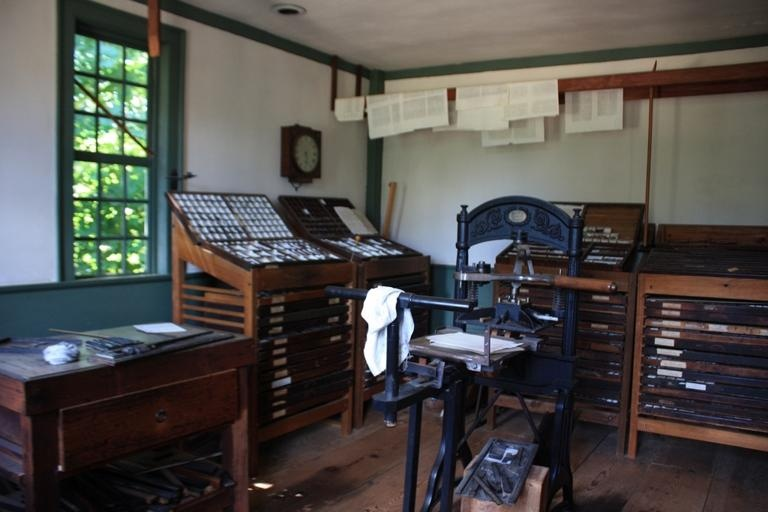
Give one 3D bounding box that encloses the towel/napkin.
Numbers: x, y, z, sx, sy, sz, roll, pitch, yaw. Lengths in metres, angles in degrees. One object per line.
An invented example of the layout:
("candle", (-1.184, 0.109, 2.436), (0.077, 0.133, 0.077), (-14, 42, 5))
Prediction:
("towel/napkin", (0.037, 0.397, 3.038), (0.366, 0.438, 0.154), (4, 0, 20))
